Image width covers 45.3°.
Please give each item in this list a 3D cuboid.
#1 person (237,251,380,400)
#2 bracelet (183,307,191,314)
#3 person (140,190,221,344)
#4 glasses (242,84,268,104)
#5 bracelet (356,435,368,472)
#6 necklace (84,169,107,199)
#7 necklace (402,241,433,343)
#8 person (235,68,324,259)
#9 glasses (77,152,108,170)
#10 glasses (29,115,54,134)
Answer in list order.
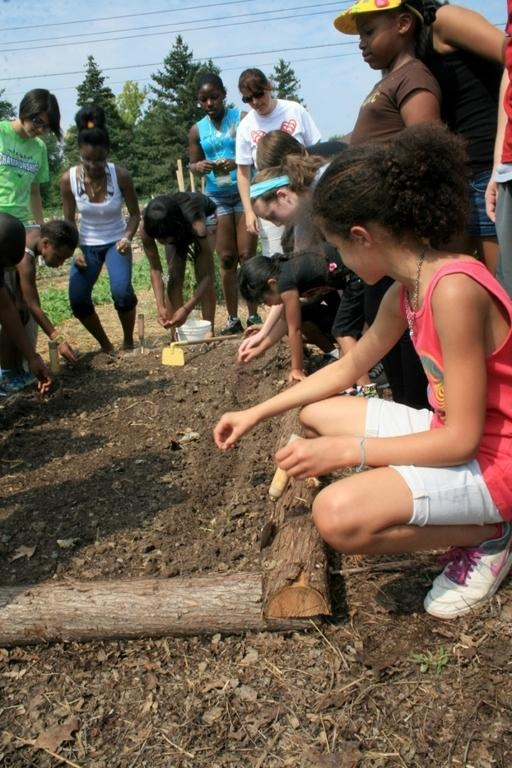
[{"bbox_3d":[0.290,-0.432,3.704,0.934,0.771,0.666,-19,7,5],"label":"person"},{"bbox_3d":[-0.517,-0.548,4.592,0.042,0.043,0.033,45,14,21],"label":"bracelet"},{"bbox_3d":[-0.574,-0.943,4.879,0.612,1.121,0.917,-8,16,-2],"label":"person"},{"bbox_3d":[-0.014,-2.119,4.516,0.184,0.092,0.121,-6,16,1],"label":"glasses"},{"bbox_3d":[0.311,0.208,1.812,0.050,0.089,0.069,5,6,5],"label":"bracelet"},{"bbox_3d":[-1.281,-1.582,4.899,0.139,0.220,0.221,-4,-5,-6],"label":"necklace"},{"bbox_3d":[0.458,-0.255,1.765,0.033,0.186,0.060,12,31,17],"label":"necklace"},{"bbox_3d":[0.187,-1.492,4.879,0.623,1.872,0.544,-9,13,-1],"label":"person"},{"bbox_3d":[-1.271,-1.734,4.797,0.147,0.111,0.192,-3,22,-6],"label":"glasses"},{"bbox_3d":[-1.559,-1.859,4.401,0.031,0.092,0.094,-41,-22,29],"label":"glasses"}]
